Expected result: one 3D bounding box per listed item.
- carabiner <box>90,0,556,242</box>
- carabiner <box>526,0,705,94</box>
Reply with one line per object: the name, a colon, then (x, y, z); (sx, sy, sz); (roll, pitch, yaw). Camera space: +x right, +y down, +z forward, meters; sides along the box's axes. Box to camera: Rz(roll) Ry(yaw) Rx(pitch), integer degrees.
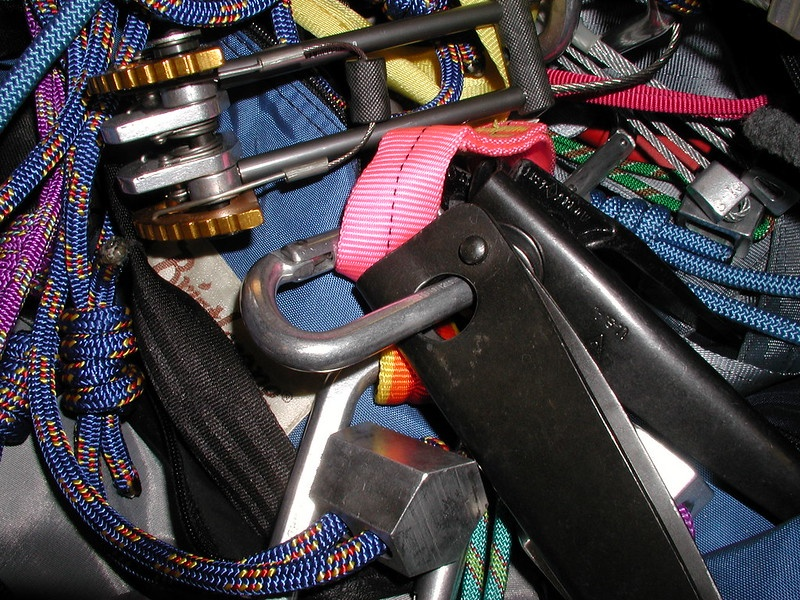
carabiner: (-0.091, -0.267, 0.957); (0.528, 0.293, 0.178); (-18, 14, -12)
carabiner: (0.303, -0.326, 0.975); (0.153, 0.038, 0.142); (-30, 76, -1)
